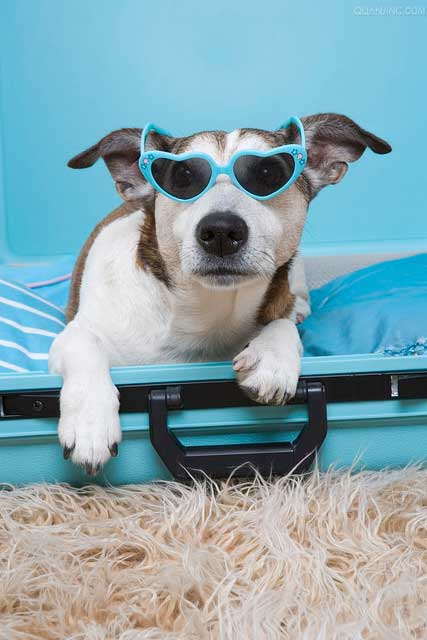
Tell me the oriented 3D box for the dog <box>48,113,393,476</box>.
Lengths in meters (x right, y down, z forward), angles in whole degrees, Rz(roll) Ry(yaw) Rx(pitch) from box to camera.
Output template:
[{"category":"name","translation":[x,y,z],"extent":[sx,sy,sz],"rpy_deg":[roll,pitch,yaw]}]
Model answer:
[{"category":"dog","translation":[0.001,-0.197,1.642],"extent":[0.788,0.666,1.107],"rpy_deg":[1,16,0]}]
